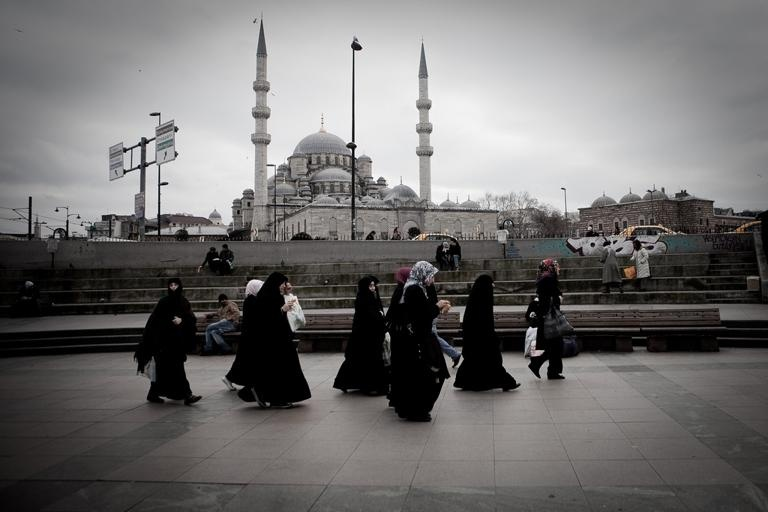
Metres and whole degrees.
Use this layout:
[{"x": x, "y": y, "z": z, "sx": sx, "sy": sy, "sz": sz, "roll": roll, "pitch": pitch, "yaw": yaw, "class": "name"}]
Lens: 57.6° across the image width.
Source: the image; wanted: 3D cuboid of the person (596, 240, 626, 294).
[{"x": 6.963, "y": 0.400, "z": 21.357, "sx": 0.619, "sy": 1.390, "sz": 0.793, "roll": 0, "pitch": 3, "yaw": 16, "class": "person"}]

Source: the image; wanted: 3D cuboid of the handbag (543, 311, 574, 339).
[{"x": 3.051, "y": 1.185, "z": 12.276, "sx": 0.509, "sy": 0.483, "sz": 0.226, "roll": -1, "pitch": 3, "yaw": -1, "class": "handbag"}]

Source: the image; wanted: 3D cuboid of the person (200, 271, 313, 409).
[{"x": -1.881, "y": 1.347, "z": 11.437, "sx": 1.255, "sy": 2.150, "sz": 0.509, "roll": -1, "pitch": 3, "yaw": -2, "class": "person"}]

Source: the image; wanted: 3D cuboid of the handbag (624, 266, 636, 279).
[{"x": 7.738, "y": 0.538, "z": 22.134, "sx": 0.383, "sy": 0.351, "sz": 0.122, "roll": -6, "pitch": -10, "yaw": -2, "class": "handbag"}]

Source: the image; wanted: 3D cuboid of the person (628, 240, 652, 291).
[{"x": 7.943, "y": 0.277, "z": 21.669, "sx": 0.526, "sy": 1.547, "sz": 1.025, "roll": 0, "pitch": 3, "yaw": 20, "class": "person"}]

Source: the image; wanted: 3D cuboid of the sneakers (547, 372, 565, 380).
[{"x": 3.017, "y": 2.103, "z": 12.359, "sx": 0.334, "sy": 0.119, "sz": 0.105, "roll": -1, "pitch": 0, "yaw": -2, "class": "sneakers"}]

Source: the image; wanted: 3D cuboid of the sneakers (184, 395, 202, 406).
[{"x": -3.184, "y": 2.376, "z": 11.695, "sx": 0.315, "sy": 0.130, "sz": 0.106, "roll": -14, "pitch": 12, "yaw": -11, "class": "sneakers"}]

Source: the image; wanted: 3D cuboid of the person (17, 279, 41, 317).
[{"x": -10.623, "y": 1.272, "z": 20.878, "sx": 0.597, "sy": 0.972, "sz": 0.588, "roll": -1, "pitch": 3, "yaw": -7, "class": "person"}]

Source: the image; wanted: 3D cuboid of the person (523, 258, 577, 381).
[{"x": 2.958, "y": 1.115, "z": 12.496, "sx": 0.725, "sy": 2.074, "sz": 0.681, "roll": 0, "pitch": 3, "yaw": 12, "class": "person"}]
